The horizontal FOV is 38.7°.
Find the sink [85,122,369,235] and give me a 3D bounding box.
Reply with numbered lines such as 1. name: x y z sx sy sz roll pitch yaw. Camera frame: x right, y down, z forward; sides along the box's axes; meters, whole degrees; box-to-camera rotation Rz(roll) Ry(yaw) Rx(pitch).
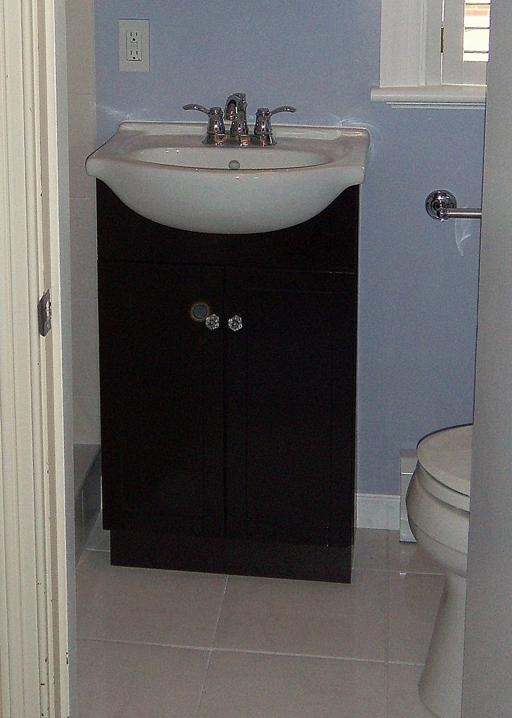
1. sink: -0.062 -0.373 1.488 0.570 0.226 0.510 2 15 8

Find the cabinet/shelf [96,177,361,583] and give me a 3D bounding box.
1. cabinet/shelf: -0.042 -0.024 1.658 0.515 0.932 0.340 3 23 8
